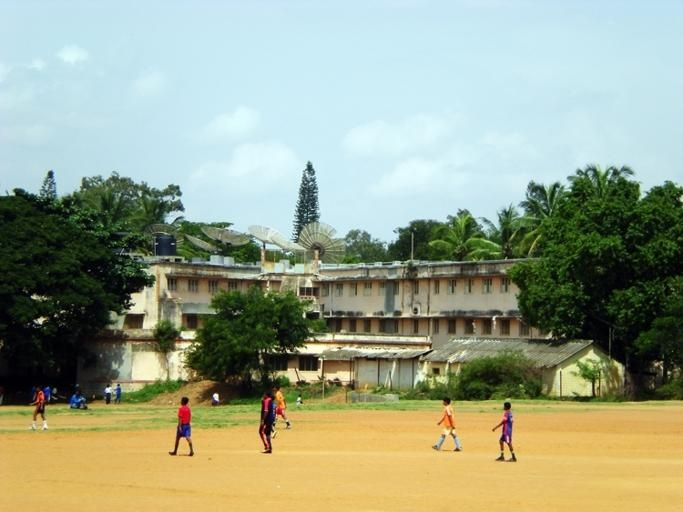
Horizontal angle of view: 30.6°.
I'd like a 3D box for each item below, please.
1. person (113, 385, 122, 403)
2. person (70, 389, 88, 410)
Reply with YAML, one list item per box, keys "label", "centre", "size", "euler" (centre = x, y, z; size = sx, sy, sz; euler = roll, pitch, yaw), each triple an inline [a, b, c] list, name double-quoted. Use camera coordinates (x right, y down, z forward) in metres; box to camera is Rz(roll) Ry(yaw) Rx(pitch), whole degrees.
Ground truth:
- label: "person"
  centre: [-15.874, 9.823, 88.850]
  size: [0.513, 1.428, 2.156]
  euler: [-1, -10, -10]
- label: "person"
  centre: [-17.575, 9.616, 83.770]
  size: [1.119, 1.136, 2.144]
  euler: [1, -3, -1]
